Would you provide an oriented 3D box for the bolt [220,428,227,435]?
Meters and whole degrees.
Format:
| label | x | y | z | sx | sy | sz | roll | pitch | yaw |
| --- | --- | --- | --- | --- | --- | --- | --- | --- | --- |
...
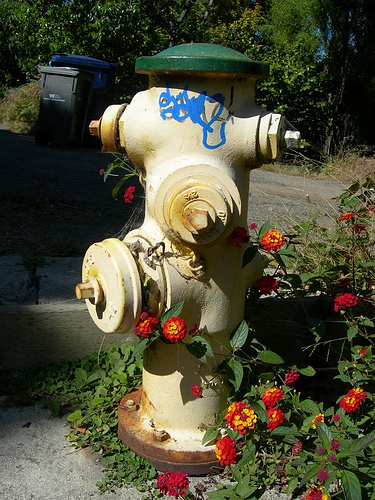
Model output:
| label | x | y | z | sx | sy | sz | roll | pitch | yaw |
| --- | --- | --- | --- | --- | --- | --- | --- | --- | --- |
| bolt | 0.131 | 0.664 | 1.647 | 0.029 | 0.025 | 0.024 | 1 | 8 | -1 |

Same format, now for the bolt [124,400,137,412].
| label | x | y | z | sx | sy | sz | roll | pitch | yaw |
| --- | --- | --- | --- | --- | --- | --- | --- | --- | --- |
| bolt | -0.232 | 0.632 | 1.826 | 0.039 | 0.026 | 0.038 | 2 | 0 | 27 |

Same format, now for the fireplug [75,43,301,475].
| label | x | y | z | sx | sy | sz | roll | pitch | yaw |
| --- | --- | --- | --- | --- | --- | --- | --- | --- | --- |
| fireplug | -0.046 | 0.035 | 1.578 | 0.714 | 1.482 | 0.439 | 9 | 10 | 9 |

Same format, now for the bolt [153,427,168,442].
| label | x | y | z | sx | sy | sz | roll | pitch | yaw |
| --- | --- | --- | --- | --- | --- | --- | --- | --- | --- |
| bolt | -0.099 | 0.660 | 1.613 | 0.041 | 0.024 | 0.038 | 2 | 1 | -17 |

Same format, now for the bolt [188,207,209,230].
| label | x | y | z | sx | sy | sz | roll | pitch | yaw |
| --- | --- | --- | --- | --- | --- | --- | --- | --- | --- |
| bolt | 0.024 | -0.089 | 1.283 | 0.065 | 0.056 | 0.022 | 4 | 9 | 16 |

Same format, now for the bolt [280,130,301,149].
| label | x | y | z | sx | sy | sz | roll | pitch | yaw |
| --- | --- | --- | --- | --- | --- | --- | --- | --- | --- |
| bolt | 0.346 | -0.357 | 1.470 | 0.069 | 0.059 | 0.041 | 1 | 5 | 7 |
